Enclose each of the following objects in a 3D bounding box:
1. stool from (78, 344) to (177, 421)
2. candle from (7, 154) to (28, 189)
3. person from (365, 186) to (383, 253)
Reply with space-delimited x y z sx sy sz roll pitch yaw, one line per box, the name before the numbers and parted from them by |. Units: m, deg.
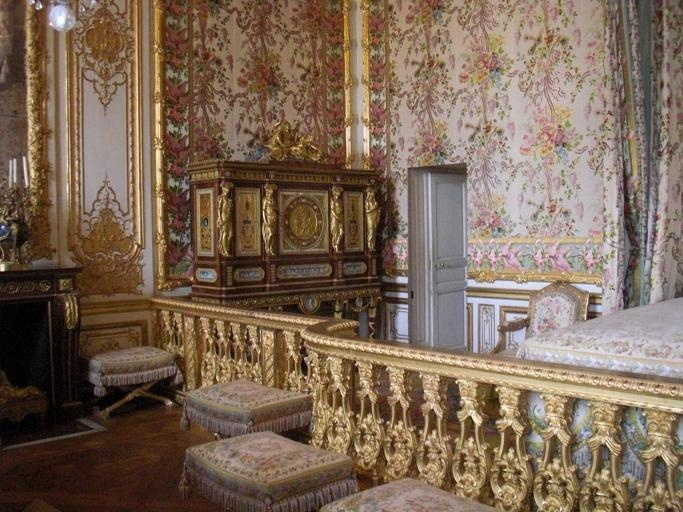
stool | -1.968 1.190 5.954 0.861 0.574 0.598 -1 4 -26
candle | -2.919 -0.757 5.651 0.177 0.325 0.298 -2 4 -30
person | 0.392 -0.450 7.518 0.122 0.811 0.261 2 4 28
